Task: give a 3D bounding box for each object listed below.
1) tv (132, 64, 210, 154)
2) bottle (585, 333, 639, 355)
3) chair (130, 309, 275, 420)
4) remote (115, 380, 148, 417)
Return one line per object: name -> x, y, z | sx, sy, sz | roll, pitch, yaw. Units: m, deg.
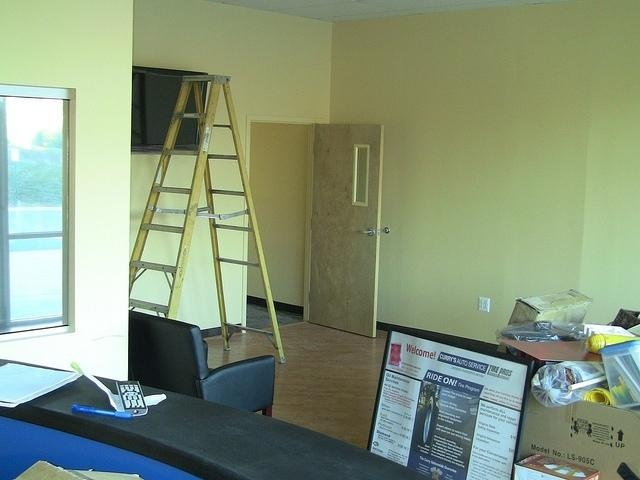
tv -> -1.405, -1.195, 4.693 | 0.957, 0.905, 0.092 | -4, 12, -36
bottle -> 1.204, 0.428, 2.088 | 0.214, 0.069, 0.093 | -2, 10, -23
chair -> -0.904, 0.873, 3.588 | 0.958, 0.754, 0.713 | 5, 3, 36
remote -> -0.646, 0.539, 1.757 | 0.078, 0.140, 0.014 | -2, 25, 2
